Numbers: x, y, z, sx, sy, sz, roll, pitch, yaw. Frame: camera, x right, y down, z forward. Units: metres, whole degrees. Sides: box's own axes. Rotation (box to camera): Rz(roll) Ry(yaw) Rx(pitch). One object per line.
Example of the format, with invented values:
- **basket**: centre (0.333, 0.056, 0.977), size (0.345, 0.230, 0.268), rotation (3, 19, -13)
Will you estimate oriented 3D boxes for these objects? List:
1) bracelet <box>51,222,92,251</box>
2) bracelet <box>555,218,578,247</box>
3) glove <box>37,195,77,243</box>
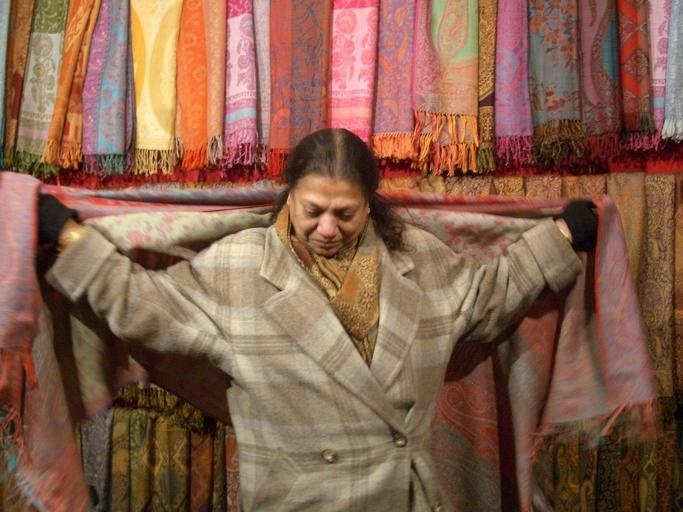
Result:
- **bracelet**: centre (-0.754, -0.058, 1.948), size (0.061, 0.087, 0.023), rotation (12, -22, -2)
- **bracelet**: centre (0.682, -0.070, 2.140), size (0.015, 0.070, 0.066), rotation (-18, -25, 8)
- **glove**: centre (-0.818, -0.103, 2.008), size (0.112, 0.118, 0.045), rotation (35, -20, -3)
